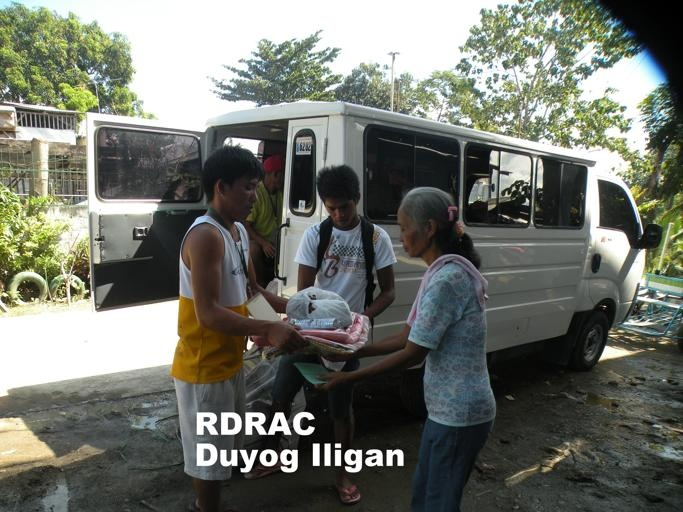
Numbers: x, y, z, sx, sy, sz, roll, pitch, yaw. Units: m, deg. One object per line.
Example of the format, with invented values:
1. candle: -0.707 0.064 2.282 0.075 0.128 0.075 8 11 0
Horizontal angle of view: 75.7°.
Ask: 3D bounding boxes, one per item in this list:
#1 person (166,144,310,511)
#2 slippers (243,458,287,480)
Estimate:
1. person: -0.735 0.499 2.816 0.663 2.393 0.546 -2 8 -22
2. slippers: -0.700 1.907 3.945 0.262 0.121 0.114 0 1 -27
